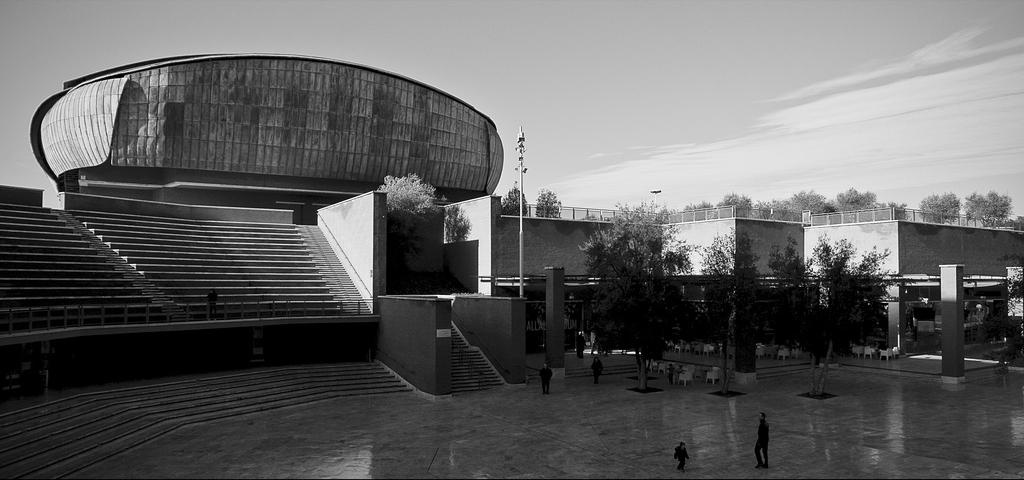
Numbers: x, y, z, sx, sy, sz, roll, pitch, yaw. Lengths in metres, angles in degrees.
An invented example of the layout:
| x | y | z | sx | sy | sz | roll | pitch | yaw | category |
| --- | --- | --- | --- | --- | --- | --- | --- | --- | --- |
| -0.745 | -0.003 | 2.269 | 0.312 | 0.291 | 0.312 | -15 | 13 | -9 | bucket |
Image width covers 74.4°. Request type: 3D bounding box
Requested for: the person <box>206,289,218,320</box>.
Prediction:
| x | y | z | sx | sy | sz | roll | pitch | yaw | category |
| --- | --- | --- | --- | --- | --- | --- | --- | --- | --- |
| -23.877 | 5.077 | 53.739 | 0.666 | 1.800 | 1.209 | -5 | -1 | -19 | person |

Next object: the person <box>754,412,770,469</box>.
| x | y | z | sx | sy | sz | roll | pitch | yaw | category |
| --- | --- | --- | --- | --- | --- | --- | --- | --- | --- |
| 16.354 | 13.034 | 44.312 | 0.920 | 3.651 | 1.031 | -6 | -1 | 17 | person |

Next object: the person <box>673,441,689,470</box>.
| x | y | z | sx | sy | sz | roll | pitch | yaw | category |
| --- | --- | --- | --- | --- | --- | --- | --- | --- | --- |
| 10.971 | 13.941 | 43.772 | 0.906 | 1.836 | 1.059 | -5 | -1 | 11 | person |
